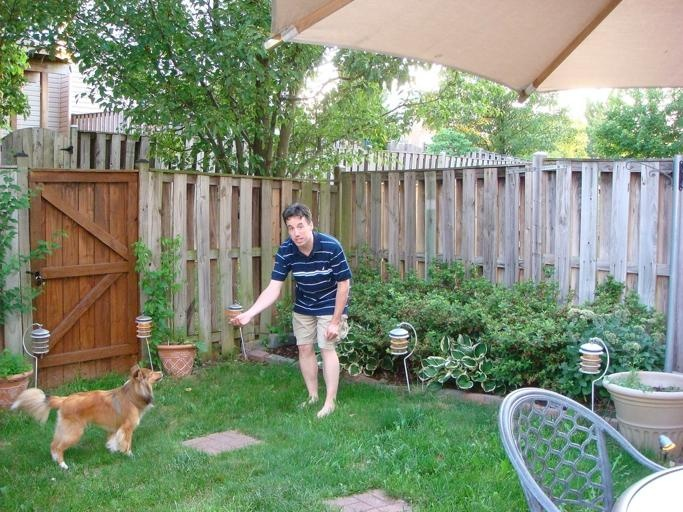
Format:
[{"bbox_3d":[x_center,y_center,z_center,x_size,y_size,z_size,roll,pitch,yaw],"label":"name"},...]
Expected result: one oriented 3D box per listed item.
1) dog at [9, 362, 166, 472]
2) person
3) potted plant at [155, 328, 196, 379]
[{"bbox_3d":[-1.981,1.276,4.656,1.060,0.632,0.428,-4,6,-22],"label":"dog"},{"bbox_3d":[-0.349,0.467,5.551,0.868,1.923,0.689,-1,6,0],"label":"person"},{"bbox_3d":[-1.890,1.171,6.677,0.348,0.307,0.378,0,-7,-8],"label":"potted plant"}]
